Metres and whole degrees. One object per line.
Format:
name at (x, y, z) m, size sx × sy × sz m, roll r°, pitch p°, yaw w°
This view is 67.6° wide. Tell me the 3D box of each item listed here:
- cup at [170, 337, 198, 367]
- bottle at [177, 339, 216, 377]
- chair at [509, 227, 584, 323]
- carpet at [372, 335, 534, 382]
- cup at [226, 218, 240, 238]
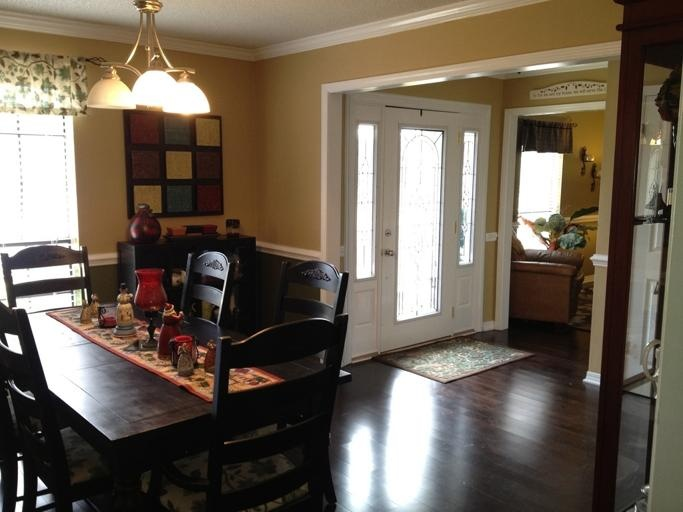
cup at (-0.750, 0.446, 2.424) m, size 0.107 × 0.148 × 0.145 m, roll 2°, pitch 6°, yaw 10°
bottle at (-0.678, 0.478, 2.372) m, size 0.147 × 0.138 × 0.055 m, roll -3°, pitch 10°, yaw -32°
chair at (2.417, 0.147, 6.441) m, size 1.009 × 1.292 × 1.139 m, roll 2°, pitch 5°, yaw 20°
carpet at (1.126, 0.997, 5.061) m, size 1.415 × 0.020 × 0.829 m, roll -6°, pitch 12°, yaw -34°
cup at (-1.060, -0.270, 4.970) m, size 0.178 × 0.205 × 0.177 m, roll 1°, pitch 5°, yaw 0°
